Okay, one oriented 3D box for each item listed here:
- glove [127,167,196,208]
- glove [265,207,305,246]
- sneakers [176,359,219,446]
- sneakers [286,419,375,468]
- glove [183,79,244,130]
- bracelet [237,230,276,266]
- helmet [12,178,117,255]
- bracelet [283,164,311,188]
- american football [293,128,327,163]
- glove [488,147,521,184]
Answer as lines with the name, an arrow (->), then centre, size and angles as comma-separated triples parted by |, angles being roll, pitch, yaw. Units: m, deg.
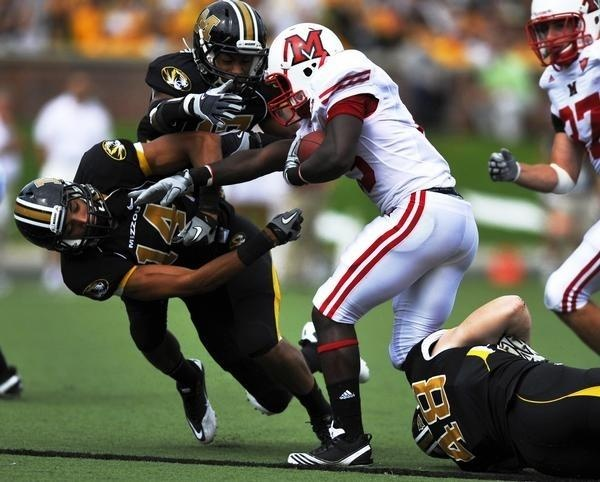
glove -> -0.635, -0.240, 3.421 | 0.257, 0.089, 0.166 | -39, 33, -22
glove -> -0.062, -0.071, 3.401 | 0.198, 0.074, 0.134 | -32, 36, 25
sneakers -> -0.539, 0.834, 3.962 | 0.172, 0.474, 0.207 | -22, -22, 15
sneakers -> 0.157, 0.937, 3.316 | 0.438, 0.222, 0.142 | 1, -17, 4
glove -> -0.432, -0.677, 3.669 | 0.281, 0.248, 0.441 | 2, -1, -4
bracelet -> -0.212, 0.035, 3.496 | 0.156, 0.103, 0.103 | -36, 3, -10
helmet -> -1.115, -0.117, 3.600 | 0.373, 0.402, 0.507 | 2, 14, 32
bracelet -> -0.022, -0.302, 3.340 | 0.104, 0.046, 0.085 | 31, 8, 36
american football -> 0.041, -0.441, 3.405 | 0.085, 0.145, 0.121 | 40, 7, 14
glove -> 1.082, -0.414, 3.845 | 0.189, 0.178, 0.117 | -9, 12, -15
